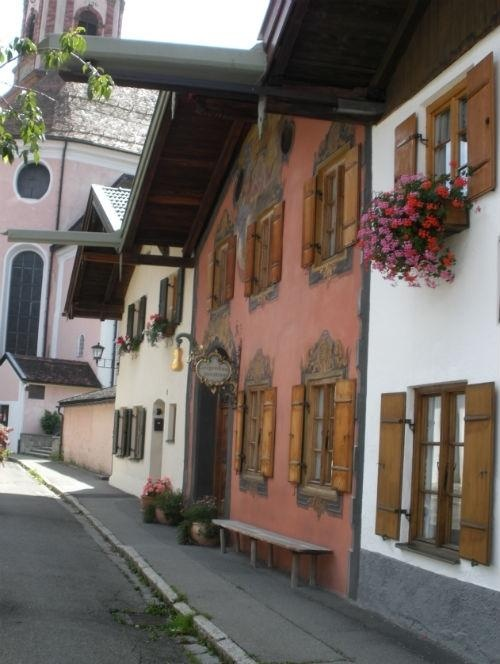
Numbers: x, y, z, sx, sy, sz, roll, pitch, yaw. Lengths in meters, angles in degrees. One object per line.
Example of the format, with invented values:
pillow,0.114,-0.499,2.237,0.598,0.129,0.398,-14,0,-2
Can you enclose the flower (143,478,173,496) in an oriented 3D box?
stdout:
flower,-1.877,3.254,15.354,0.454,0.372,0.459,6,6,42

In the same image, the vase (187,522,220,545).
vase,-0.724,3.098,11.252,0.326,0.286,0.362,0,-7,15

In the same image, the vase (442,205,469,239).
vase,1.596,-0.849,5.643,0.186,0.156,0.431,0,-9,17

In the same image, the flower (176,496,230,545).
flower,-0.780,3.040,11.609,0.630,0.830,0.639,-1,-5,29

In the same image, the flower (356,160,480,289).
flower,1.276,-0.830,5.710,0.816,0.923,0.650,2,-8,4

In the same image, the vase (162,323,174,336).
vase,-1.821,-0.030,16.443,0.235,0.279,0.263,1,-4,9

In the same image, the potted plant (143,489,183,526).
potted plant,-1.615,3.336,13.824,0.727,0.555,0.618,4,-8,-6

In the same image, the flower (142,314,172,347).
flower,-2.084,-0.095,16.880,0.327,0.677,1.203,5,-9,-23

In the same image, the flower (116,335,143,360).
flower,-3.289,0.378,20.098,0.597,0.403,0.632,-4,-9,36

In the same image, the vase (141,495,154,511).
vase,-2.116,3.478,15.034,0.377,0.328,0.419,4,-11,-8
